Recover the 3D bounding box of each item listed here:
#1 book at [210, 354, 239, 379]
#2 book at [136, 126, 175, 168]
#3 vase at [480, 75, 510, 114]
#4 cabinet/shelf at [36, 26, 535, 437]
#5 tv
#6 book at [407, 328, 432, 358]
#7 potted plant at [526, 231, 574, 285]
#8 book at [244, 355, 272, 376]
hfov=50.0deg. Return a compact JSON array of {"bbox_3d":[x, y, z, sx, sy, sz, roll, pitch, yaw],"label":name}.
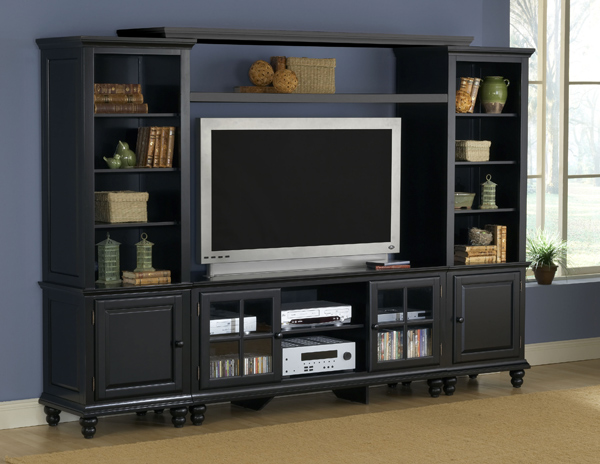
[{"bbox_3d":[-0.478,0.843,4.072,0.216,0.130,0.047,5,-6,-21],"label":"book"},{"bbox_3d":[-0.876,-0.525,3.956,0.267,0.327,0.258,1,8,-20],"label":"book"},{"bbox_3d":[1.482,-1.045,4.932,0.227,0.262,0.247,-5,7,-42],"label":"vase"},{"bbox_3d":[-0.178,0.030,4.246,2.940,2.031,0.681,-3,3,-32],"label":"cabinet/shelf"},{"bbox_3d":[-0.070,-0.247,4.390,1.214,0.770,0.111,-3,4,-28],"label":"tv"},{"bbox_3d":[0.838,0.779,4.548,0.244,0.208,0.078,0,-3,-31],"label":"book"},{"bbox_3d":[2.132,0.227,5.624,0.473,0.451,0.497,0,-3,21],"label":"potted plant"},{"bbox_3d":[-0.269,0.853,4.146,0.192,0.135,0.024,-6,7,-22],"label":"book"}]
